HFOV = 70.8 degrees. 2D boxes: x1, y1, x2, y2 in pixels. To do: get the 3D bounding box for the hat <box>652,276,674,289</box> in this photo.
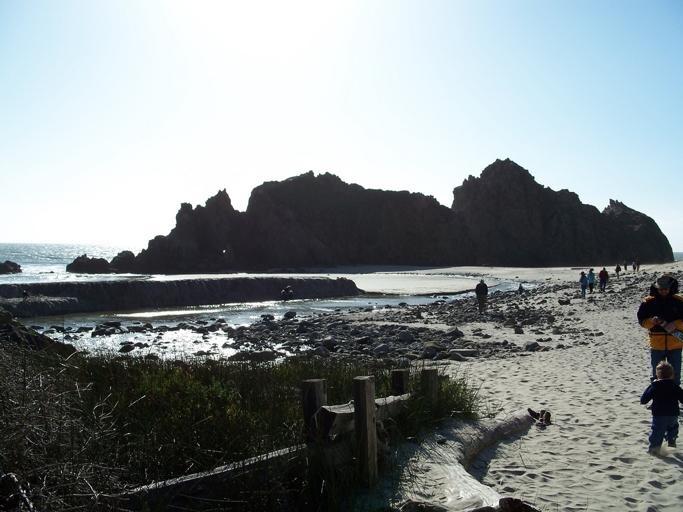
[{"bbox_3d":[5.498,0.447,8.163,0.276,0.253,0.258,-3,-4,-2],"label":"hat"}]
